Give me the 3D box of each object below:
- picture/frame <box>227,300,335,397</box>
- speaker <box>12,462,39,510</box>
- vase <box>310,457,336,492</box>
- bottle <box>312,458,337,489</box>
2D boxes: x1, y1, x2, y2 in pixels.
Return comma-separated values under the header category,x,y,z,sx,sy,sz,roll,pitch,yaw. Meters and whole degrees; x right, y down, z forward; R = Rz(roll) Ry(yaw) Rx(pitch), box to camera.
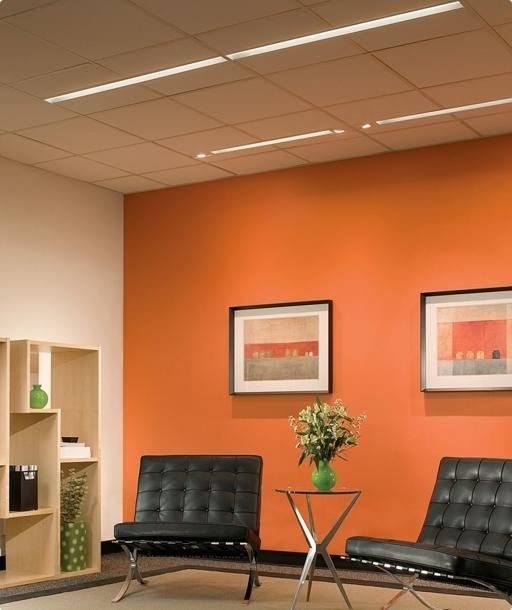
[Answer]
category,x,y,z,sx,sy,sz,roll,pitch,yaw
picture/frame,0.269,0.403,4.932,0.997,0.708,0.069,-2,-6,25
speaker,-1.741,1.371,4.127,0.195,0.331,0.206,0,-2,-23
vase,0.452,1.118,3.614,0.216,0.216,0.188,1,-12,-2
bottle,0.452,1.108,3.625,0.208,0.208,0.180,2,-11,-6
